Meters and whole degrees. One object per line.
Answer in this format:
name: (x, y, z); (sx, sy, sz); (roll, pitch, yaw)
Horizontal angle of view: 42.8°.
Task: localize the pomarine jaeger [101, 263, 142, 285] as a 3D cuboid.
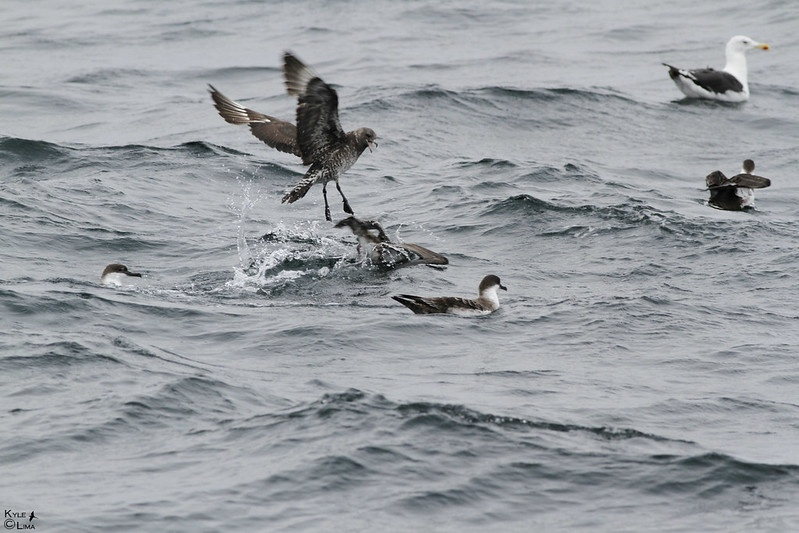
pomarine jaeger: (-5.062, 0.133, 18.675); (0.739, 0.229, 0.386); (0, 3, -1)
